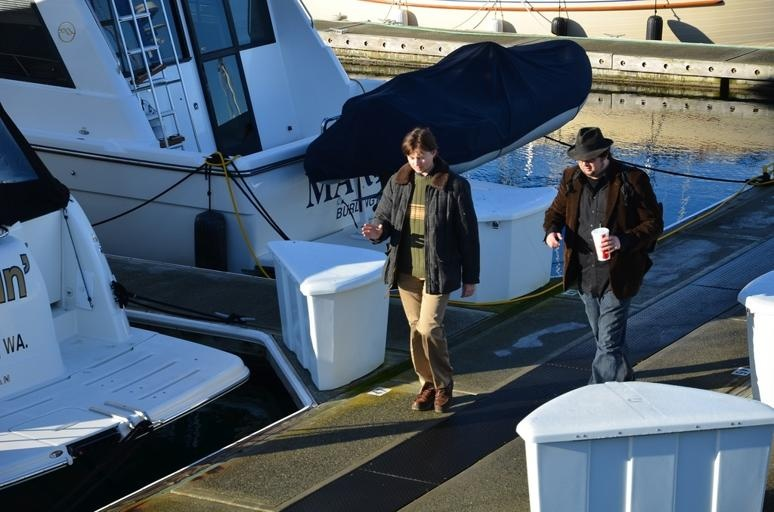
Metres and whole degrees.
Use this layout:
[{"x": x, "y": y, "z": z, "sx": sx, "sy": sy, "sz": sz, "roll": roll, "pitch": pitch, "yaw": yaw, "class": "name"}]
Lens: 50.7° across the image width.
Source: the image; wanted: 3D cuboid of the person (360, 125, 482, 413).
[{"x": 0.322, "y": 0.116, "z": 6.533, "sx": 0.623, "sy": 2.212, "sz": 0.676, "roll": -14, "pitch": 21, "yaw": -26, "class": "person"}]

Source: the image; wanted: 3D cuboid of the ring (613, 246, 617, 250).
[{"x": 1.681, "y": -0.043, "z": 6.011, "sx": 0.018, "sy": 0.021, "sz": 0.023, "roll": 14, "pitch": 28, "yaw": 26, "class": "ring"}]

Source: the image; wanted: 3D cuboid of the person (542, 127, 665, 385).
[{"x": 1.656, "y": 0.018, "z": 6.316, "sx": 0.866, "sy": 1.944, "sz": 0.507, "roll": 2, "pitch": 20, "yaw": 19, "class": "person"}]

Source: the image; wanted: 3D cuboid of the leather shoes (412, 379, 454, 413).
[{"x": 0.396, "y": 1.142, "z": 6.615, "sx": 0.192, "sy": 0.113, "sz": 0.319, "roll": 12, "pitch": 11, "yaw": 30, "class": "leather shoes"}]
